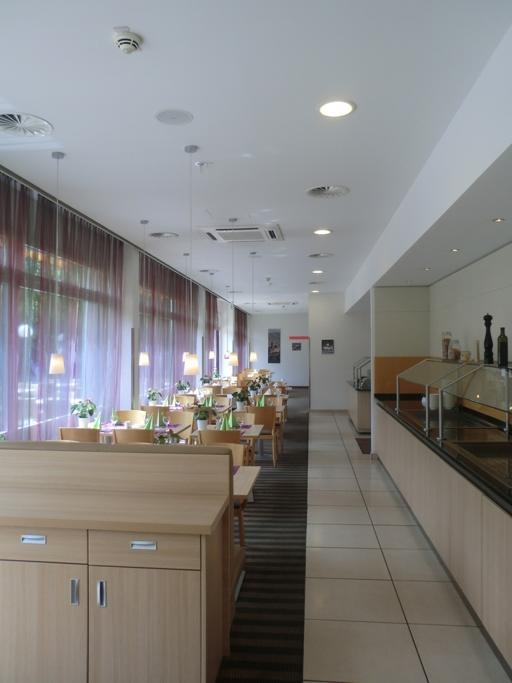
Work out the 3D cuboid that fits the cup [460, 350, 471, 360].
[{"bbox_3d":[1.981,0.131,4.703,0.081,0.086,0.084,0,0,0],"label":"cup"}]
